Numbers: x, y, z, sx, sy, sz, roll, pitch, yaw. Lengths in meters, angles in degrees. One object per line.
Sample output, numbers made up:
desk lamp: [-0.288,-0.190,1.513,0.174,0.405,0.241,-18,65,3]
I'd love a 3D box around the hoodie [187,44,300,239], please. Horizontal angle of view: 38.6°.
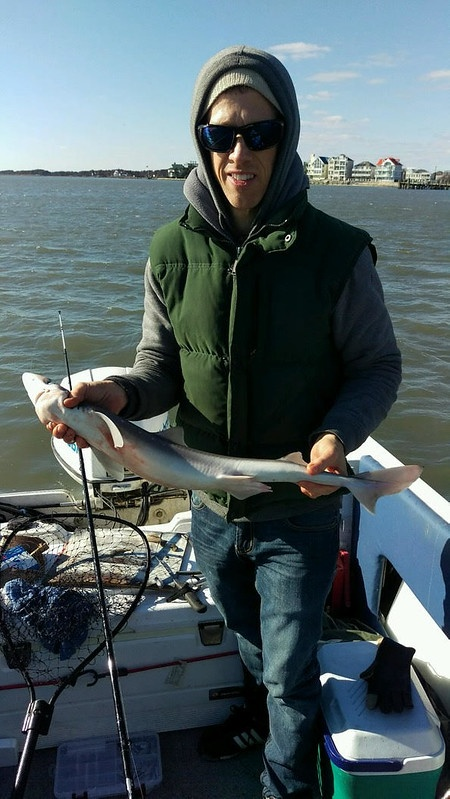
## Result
hoodie: [0.051,-0.886,2.334,0.454,0.649,0.354,-1,-2,1]

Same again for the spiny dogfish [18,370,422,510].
spiny dogfish: [-0.015,0.215,2.368,1.397,0.260,0.248,8,26,21]

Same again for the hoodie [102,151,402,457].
hoodie: [0.093,-0.319,2.410,1.060,1.096,0.456,9,20,27]

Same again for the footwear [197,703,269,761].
footwear: [0.044,1.646,3.216,0.476,0.175,0.200,-12,-25,3]

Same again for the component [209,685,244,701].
component: [-0.002,1.457,3.193,0.171,0.074,0.041,1,9,-6]
